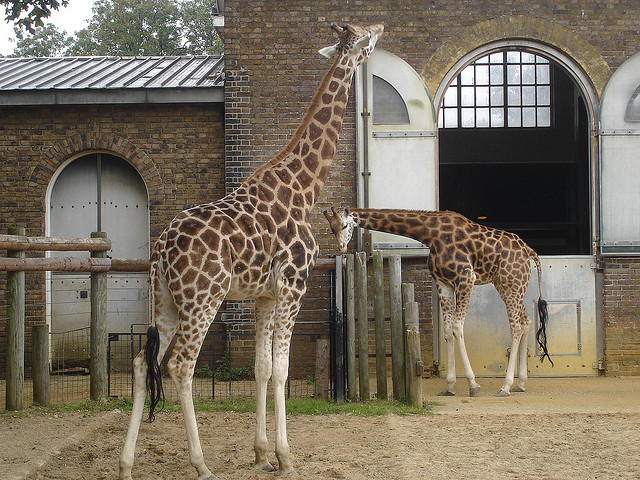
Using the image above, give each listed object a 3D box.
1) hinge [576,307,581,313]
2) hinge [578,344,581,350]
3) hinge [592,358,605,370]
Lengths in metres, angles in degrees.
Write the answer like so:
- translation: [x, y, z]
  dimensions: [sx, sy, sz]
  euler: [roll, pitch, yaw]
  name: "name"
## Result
- translation: [4.328, 1.195, 23.466]
  dimensions: [0.069, 0.084, 0.073]
  euler: [0, -3, 8]
  name: "hinge"
- translation: [4.337, 1.816, 23.458]
  dimensions: [0.042, 0.084, 0.008]
  euler: [0, -3, -3]
  name: "hinge"
- translation: [4.658, 2.114, 23.441]
  dimensions: [0.189, 0.149, 0.150]
  euler: [-1, -1, 14]
  name: "hinge"
